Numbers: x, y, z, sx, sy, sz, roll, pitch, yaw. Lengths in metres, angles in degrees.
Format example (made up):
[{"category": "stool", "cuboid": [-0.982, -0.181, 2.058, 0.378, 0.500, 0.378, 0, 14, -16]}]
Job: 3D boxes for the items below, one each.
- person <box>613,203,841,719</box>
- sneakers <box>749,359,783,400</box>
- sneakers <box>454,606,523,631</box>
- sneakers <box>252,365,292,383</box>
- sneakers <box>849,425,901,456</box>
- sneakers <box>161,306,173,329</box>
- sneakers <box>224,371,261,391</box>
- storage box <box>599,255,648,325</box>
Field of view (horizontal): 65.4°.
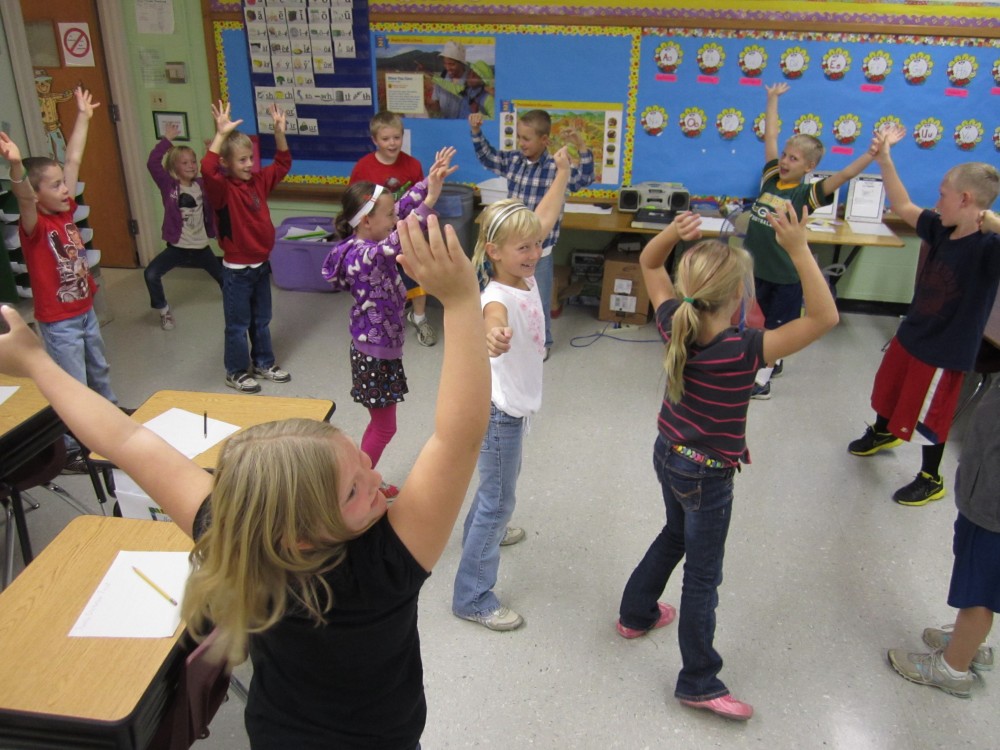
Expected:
[{"category": "person", "cuboid": [0.739, 0.306, 2.774, 0.441, 1.833, 0.670, -6, 22, -20]}, {"category": "sneakers", "cuboid": [1.411, 0.037, 4.148, 0.169, 0.229, 0.514, -1, 7, 23]}, {"category": "sneakers", "cuboid": [-0.044, 0.998, 3.225, 0.220, 0.098, 0.103, 0, 18, 9]}, {"category": "sneakers", "cuboid": [-1.447, -0.007, 4.935, 0.240, 0.109, 0.102, 3, 18, 8]}, {"category": "sneakers", "cuboid": [2.004, 0.367, 4.294, 0.314, 0.154, 0.127, -8, 21, 3]}, {"category": "sneakers", "cuboid": [-2.399, -0.414, 5.608, 0.057, 0.159, 0.063, -19, -13, -14]}, {"category": "sneakers", "cuboid": [-1.591, 0.044, 4.842, 0.217, 0.092, 0.108, 4, 27, 7]}, {"category": "storage box", "cuboid": [0.967, -0.677, 5.901, 0.347, 0.490, 0.330, 9, 24, 18]}]
